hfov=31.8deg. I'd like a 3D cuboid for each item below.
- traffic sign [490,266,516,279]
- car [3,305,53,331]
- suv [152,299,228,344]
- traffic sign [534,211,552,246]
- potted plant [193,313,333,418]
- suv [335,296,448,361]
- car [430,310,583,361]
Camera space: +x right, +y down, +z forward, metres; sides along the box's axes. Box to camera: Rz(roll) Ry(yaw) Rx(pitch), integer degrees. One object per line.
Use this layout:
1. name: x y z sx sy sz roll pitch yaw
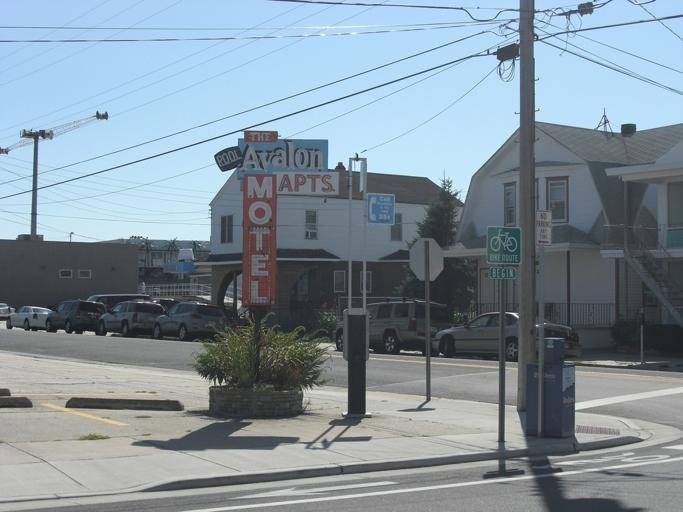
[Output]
1. traffic sign: 3.148 0.327 23.375 0.537 0.281 1.001 0 -5 7
2. car: -14.932 2.942 56.961 1.219 0.997 2.933 2 -1 -31
3. suv: -5.323 2.607 47.831 2.969 2.286 3.282 2 -3 -28
4. traffic sign: 4.128 -0.582 24.403 0.290 0.700 0.462 0 -5 17
5. potted plant: -1.719 2.362 25.270 2.437 2.052 0.841 2 -4 -10
6. suv: 2.145 2.392 40.902 2.685 1.875 2.861 -1 -5 22
7. car: 4.424 2.565 37.601 1.794 1.599 4.416 1 -3 -36
